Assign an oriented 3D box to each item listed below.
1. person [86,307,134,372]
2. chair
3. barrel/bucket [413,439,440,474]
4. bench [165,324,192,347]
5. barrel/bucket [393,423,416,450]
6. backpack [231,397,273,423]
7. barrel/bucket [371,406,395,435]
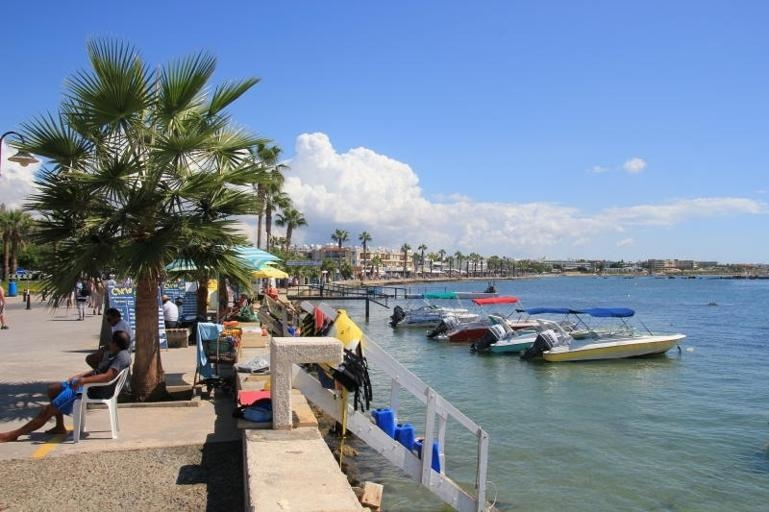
[{"bbox_3d":[-5.842,1.823,12.742,0.777,1.315,0.920,4,0,16],"label":"person"},{"bbox_3d":[-5.601,2.817,11.716,1.148,1.171,1.053,-2,-4,27],"label":"chair"},{"bbox_3d":[0.888,4.154,12.517,0.567,0.848,1.047,-1,-2,5],"label":"barrel/bucket"},{"bbox_3d":[-7.078,2.794,20.663,0.771,0.419,0.724,3,14,-9],"label":"bench"},{"bbox_3d":[0.409,3.709,12.267,0.370,0.479,0.263,1,-2,-36],"label":"barrel/bucket"},{"bbox_3d":[-2.215,2.793,10.854,0.627,0.205,0.605,-4,0,29],"label":"backpack"},{"bbox_3d":[-0.077,3.364,12.319,0.446,0.516,0.185,2,-9,-25],"label":"barrel/bucket"}]
